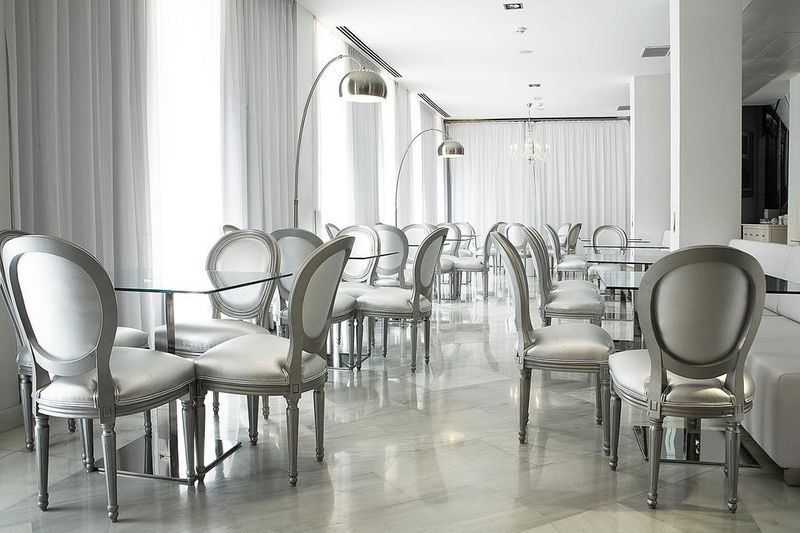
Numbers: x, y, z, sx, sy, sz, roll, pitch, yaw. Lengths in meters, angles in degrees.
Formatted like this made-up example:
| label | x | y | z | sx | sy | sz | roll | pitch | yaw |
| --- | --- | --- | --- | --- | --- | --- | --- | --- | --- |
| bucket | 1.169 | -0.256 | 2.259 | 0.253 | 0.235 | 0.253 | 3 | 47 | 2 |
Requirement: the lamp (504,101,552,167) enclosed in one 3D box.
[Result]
| label | x | y | z | sx | sy | sz | roll | pitch | yaw |
| --- | --- | --- | --- | --- | --- | --- | --- | --- | --- |
| lamp | 3.047 | -3.035 | 13.276 | 1.251 | 2.017 | 1.301 | 1 | 4 | 6 |
